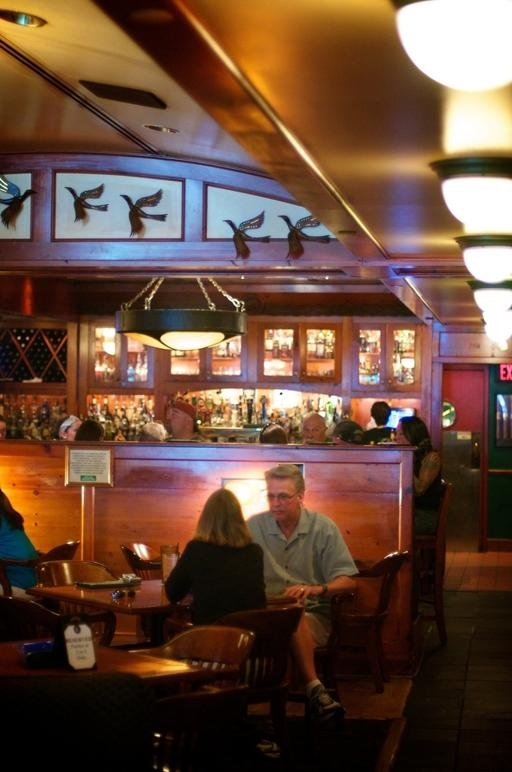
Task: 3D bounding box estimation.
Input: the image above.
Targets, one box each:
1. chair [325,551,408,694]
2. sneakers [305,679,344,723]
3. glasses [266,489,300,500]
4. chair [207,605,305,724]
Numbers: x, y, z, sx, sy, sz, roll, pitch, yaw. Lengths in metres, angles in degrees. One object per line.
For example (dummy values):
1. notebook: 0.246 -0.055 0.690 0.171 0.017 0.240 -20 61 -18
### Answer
1. chair: 0.680 1.502 4.256 0.596 0.682 0.513 -4 -23 7
2. sneakers: 0.349 1.714 3.647 0.157 0.176 0.396 -19 -15 -13
3. glasses: 0.157 0.646 3.872 0.179 0.052 0.093 2 -4 1
4. chair: 0.046 1.329 2.963 0.239 0.297 0.234 39 -32 -25
